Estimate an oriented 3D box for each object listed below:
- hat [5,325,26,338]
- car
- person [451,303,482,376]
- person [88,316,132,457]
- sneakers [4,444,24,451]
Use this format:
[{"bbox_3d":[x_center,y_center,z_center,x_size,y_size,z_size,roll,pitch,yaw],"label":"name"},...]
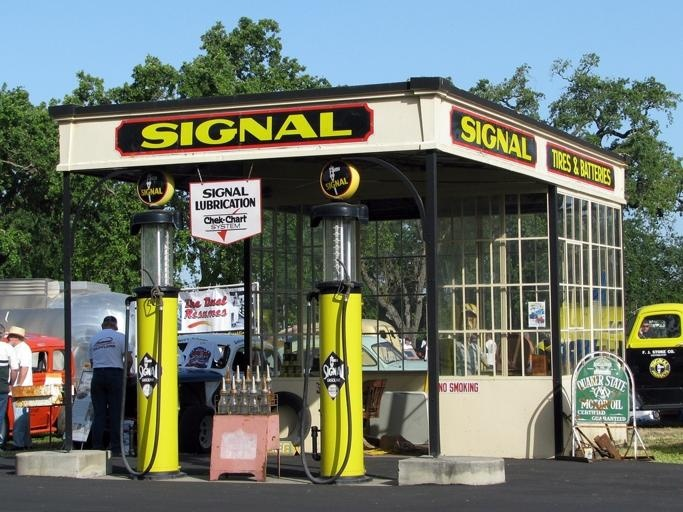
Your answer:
[{"bbox_3d":[-6.535,1.497,22.064,0.357,0.164,0.433,13,-4,-9],"label":"hat"},{"bbox_3d":[-1.359,2.258,19.361,5.684,2.269,2.796,-8,-11,41],"label":"car"},{"bbox_3d":[2.062,1.348,18.244,0.411,1.182,0.342,-1,-7,6],"label":"person"},{"bbox_3d":[-3.805,2.074,17.971,0.644,2.301,1.503,2,-8,-14],"label":"person"},{"bbox_3d":[-5.907,3.452,19.875,0.403,0.185,0.128,-5,-7,33],"label":"sneakers"}]
